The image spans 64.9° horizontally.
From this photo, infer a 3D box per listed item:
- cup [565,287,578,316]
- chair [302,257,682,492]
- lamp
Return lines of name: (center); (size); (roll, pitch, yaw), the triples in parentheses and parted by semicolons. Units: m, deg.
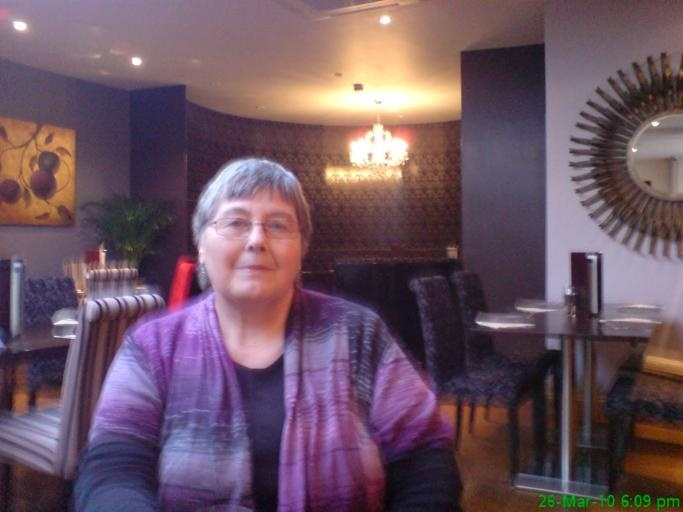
cup: (1.353, 0.262, 3.165); (0.067, 0.159, 0.266); (1, 4, 18)
chair: (0.956, 0.602, 2.735); (0.847, 1.064, 1.158); (-6, -3, 30)
lamp: (0.543, -1.760, 7.883); (0.797, 1.121, 0.830); (1, 7, 7)
